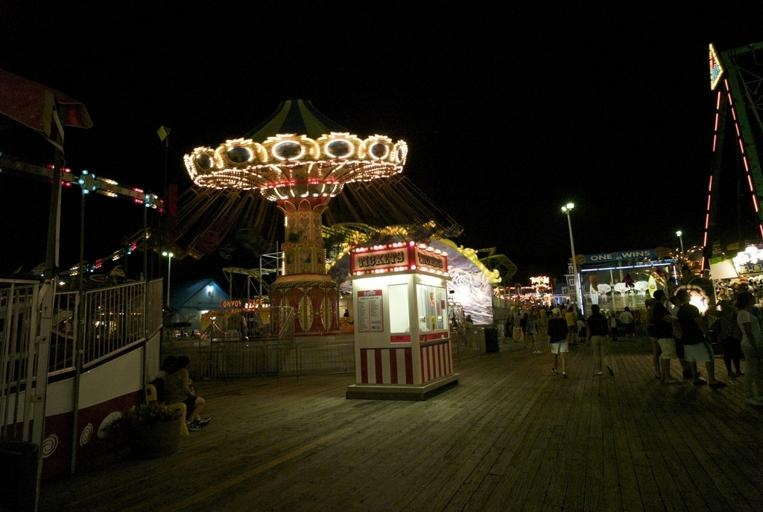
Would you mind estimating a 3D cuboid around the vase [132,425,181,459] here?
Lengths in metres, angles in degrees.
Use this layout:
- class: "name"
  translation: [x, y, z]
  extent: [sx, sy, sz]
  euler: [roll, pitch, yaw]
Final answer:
- class: "vase"
  translation: [-3.769, 3.061, 9.379]
  extent: [0.719, 0.515, 0.236]
  euler: [-4, 2, -26]

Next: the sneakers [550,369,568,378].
- class: "sneakers"
  translation: [4.620, 3.020, 14.418]
  extent: [0.199, 0.258, 0.602]
  euler: [-3, -12, 2]

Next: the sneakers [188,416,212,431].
- class: "sneakers"
  translation: [-3.497, 3.222, 10.815]
  extent: [0.132, 0.172, 0.401]
  euler: [2, 3, 39]

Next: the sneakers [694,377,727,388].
- class: "sneakers"
  translation: [6.830, 2.656, 11.696]
  extent: [0.222, 0.228, 0.606]
  euler: [11, -17, -40]
